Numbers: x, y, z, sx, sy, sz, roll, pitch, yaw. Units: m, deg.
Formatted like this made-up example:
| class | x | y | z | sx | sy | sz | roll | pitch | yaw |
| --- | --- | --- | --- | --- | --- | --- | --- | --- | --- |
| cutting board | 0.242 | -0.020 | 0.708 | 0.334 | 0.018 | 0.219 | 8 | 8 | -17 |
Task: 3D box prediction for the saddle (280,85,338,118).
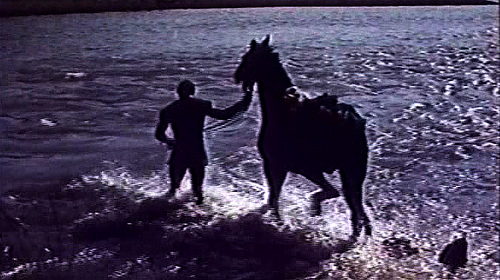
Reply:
| class | x | y | z | sx | sy | sz | roll | pitch | yaw |
| --- | --- | --- | --- | --- | --- | --- | --- | --- | --- |
| saddle | 1.331 | -0.902 | 15.491 | 1.305 | 0.773 | 0.505 | 2 | 37 | -5 |
